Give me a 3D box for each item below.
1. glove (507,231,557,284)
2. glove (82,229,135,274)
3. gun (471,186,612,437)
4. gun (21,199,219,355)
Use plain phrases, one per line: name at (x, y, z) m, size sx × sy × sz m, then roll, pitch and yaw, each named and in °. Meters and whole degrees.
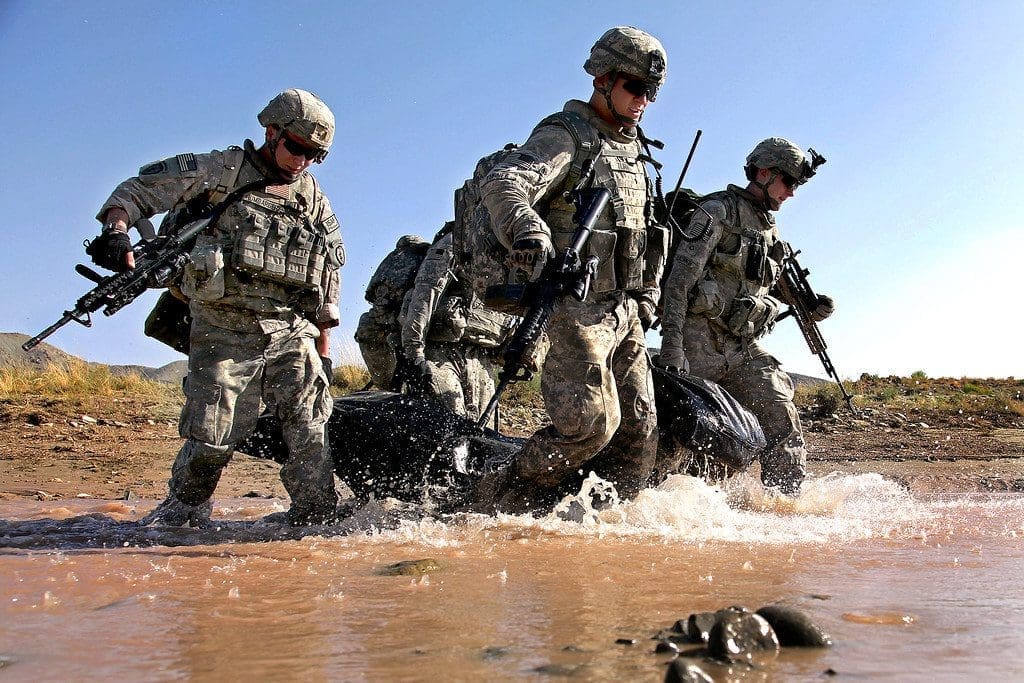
glove at (0.114, -0.480, 4.283) m, size 0.216 × 0.275 × 0.280 m, roll 7°, pitch 10°, yaw 0°
glove at (-2.421, -0.556, 4.565) m, size 0.241 × 0.260 × 0.198 m, roll 3°, pitch -5°, yaw -38°
gun at (0.226, -0.071, 4.532) m, size 0.468 × 1.769 × 0.655 m, roll 25°, pitch 11°, yaw -14°
gun at (-2.166, -0.461, 4.596) m, size 0.231 × 1.393 × 0.528 m, roll 10°, pitch -49°, yaw 31°
